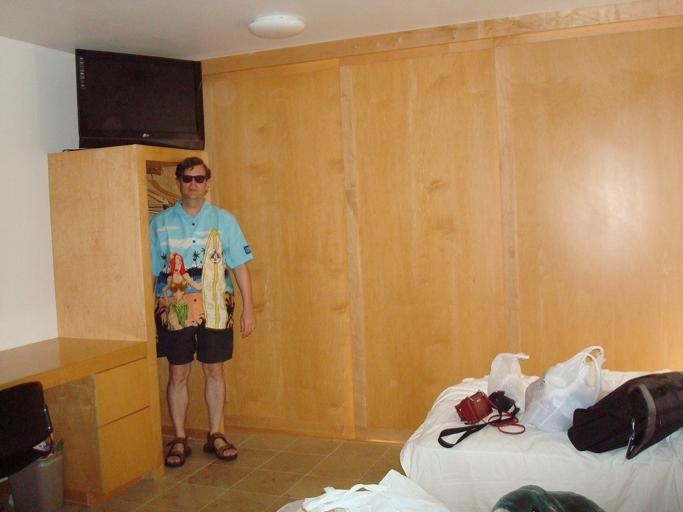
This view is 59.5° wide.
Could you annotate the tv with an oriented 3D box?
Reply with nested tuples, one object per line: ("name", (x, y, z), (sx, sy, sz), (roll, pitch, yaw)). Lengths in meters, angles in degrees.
("tv", (-1.401, -1.060, 4.053), (0.769, 0.550, 0.080), (-4, 3, -32))

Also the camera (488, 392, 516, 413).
("camera", (0.824, 0.750, 3.061), (0.078, 0.035, 0.104), (-8, 27, -12))

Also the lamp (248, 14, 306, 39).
("lamp", (-0.413, -1.490, 3.841), (0.350, 0.096, 0.242), (-1, 7, 6))

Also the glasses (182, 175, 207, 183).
("glasses", (-0.981, -0.519, 3.988), (0.152, 0.053, 0.041), (-4, 7, -12))

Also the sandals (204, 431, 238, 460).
("sandals", (-0.827, 1.307, 4.117), (0.108, 0.129, 0.293), (-5, 0, -43))
